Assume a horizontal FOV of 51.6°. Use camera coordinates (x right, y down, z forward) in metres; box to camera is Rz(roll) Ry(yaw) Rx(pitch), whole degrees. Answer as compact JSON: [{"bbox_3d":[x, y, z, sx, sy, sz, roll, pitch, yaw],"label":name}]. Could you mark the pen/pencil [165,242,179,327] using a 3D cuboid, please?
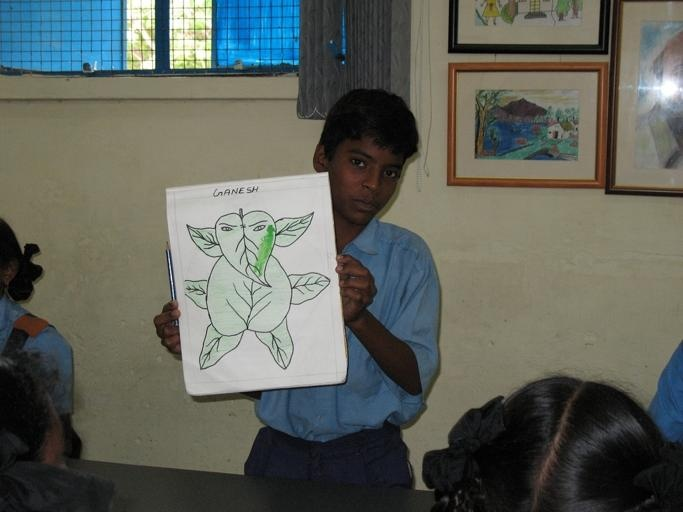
[{"bbox_3d":[-0.379,0.063,1.585,0.018,0.205,0.020,-7,6,-9],"label":"pen/pencil"}]
